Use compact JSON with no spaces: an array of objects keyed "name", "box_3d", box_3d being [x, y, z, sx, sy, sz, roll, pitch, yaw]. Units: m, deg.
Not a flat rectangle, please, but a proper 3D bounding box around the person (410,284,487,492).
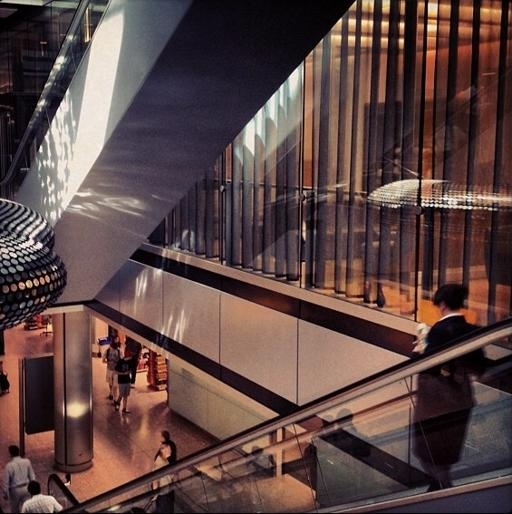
[{"name":"person","box_3d":[1.169,0.658,3.263,0.342,1.031,1.730,1,-4,20]}]
